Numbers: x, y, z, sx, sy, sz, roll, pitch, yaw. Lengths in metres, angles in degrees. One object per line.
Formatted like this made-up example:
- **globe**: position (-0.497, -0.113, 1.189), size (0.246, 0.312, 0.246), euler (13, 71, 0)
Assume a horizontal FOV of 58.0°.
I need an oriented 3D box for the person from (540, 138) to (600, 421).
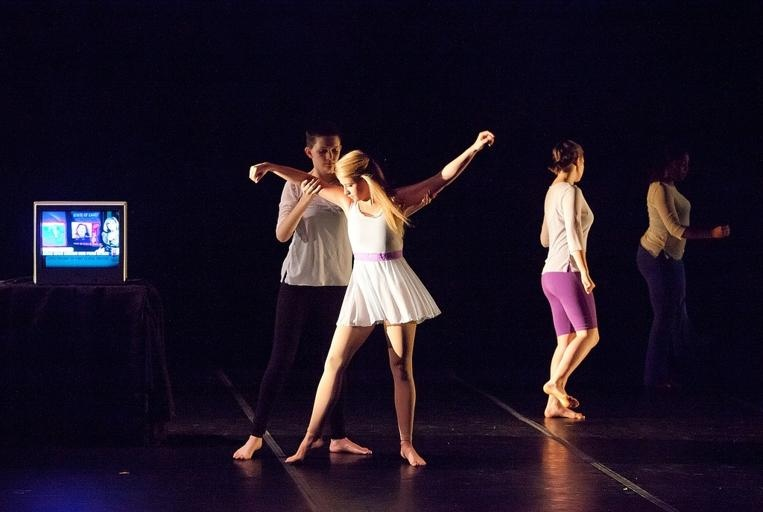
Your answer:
- **person**: position (1.364, 0.159, 5.027), size (0.410, 2.031, 0.378), euler (1, 1, 22)
